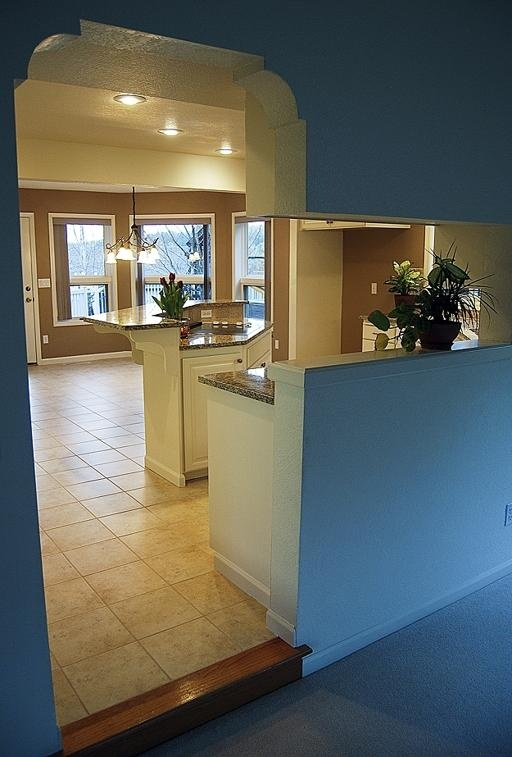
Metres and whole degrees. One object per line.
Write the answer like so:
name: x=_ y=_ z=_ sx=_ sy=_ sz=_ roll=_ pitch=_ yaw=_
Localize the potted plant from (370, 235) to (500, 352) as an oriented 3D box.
potted plant: x=0.755 y=-0.289 z=2.420 sx=0.561 sy=0.476 sz=0.562 roll=5 pitch=7 yaw=4
